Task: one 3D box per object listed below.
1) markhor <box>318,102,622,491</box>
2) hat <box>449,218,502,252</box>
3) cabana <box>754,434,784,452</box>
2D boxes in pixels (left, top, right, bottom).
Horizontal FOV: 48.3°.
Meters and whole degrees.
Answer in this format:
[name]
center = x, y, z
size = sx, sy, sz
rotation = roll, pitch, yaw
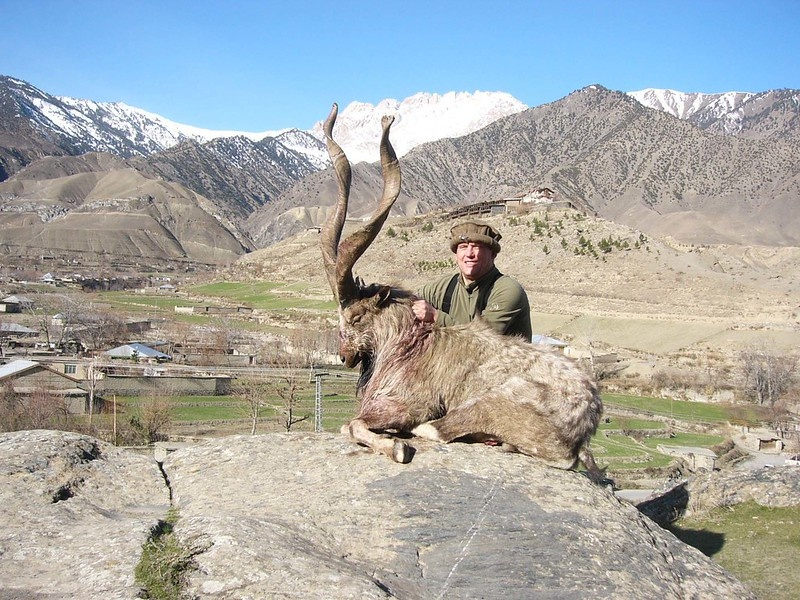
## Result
[markhor]
center = 0.602, 0.957, 11.951
size = 4.511, 5.635, 2.374
rotation = 3, -11, 1
[hat]
center = 0.909, -0.720, 10.206
size = 0.451, 0.246, 0.424
rotation = 19, -16, -39
[cabana]
center = 21.200, 8.307, 51.022
size = 1.492, 0.804, 2.012
rotation = 1, 0, 23
